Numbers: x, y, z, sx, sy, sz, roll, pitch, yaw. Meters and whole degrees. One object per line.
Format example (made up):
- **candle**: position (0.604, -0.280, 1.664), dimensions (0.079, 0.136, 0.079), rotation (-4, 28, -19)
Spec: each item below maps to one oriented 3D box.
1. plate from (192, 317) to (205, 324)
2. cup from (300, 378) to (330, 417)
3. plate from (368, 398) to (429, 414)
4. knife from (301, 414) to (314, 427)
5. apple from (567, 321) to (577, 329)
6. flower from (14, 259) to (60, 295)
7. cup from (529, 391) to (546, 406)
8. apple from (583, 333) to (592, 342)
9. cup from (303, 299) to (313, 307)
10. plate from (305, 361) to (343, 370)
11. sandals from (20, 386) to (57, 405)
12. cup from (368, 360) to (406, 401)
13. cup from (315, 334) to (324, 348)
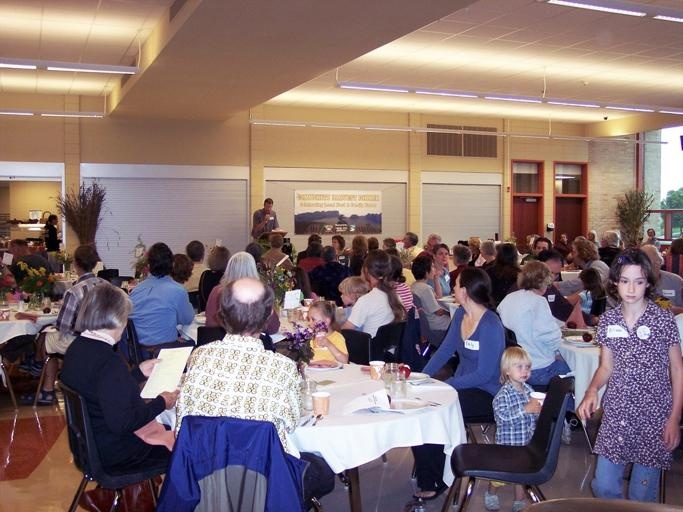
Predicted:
- **plate**: position (-1.414, 0.635, 5.267), dimensions (0.074, 0.078, 0.119), rotation (0, -13, 6)
- **cup**: position (-0.147, 0.741, 2.782), dimensions (0.117, 0.167, 0.178), rotation (0, -7, -3)
- **plate**: position (0.312, 0.792, 2.801), dimensions (0.345, 0.025, 0.165), rotation (-2, 4, -29)
- **knife**: position (-0.167, 0.809, 2.599), dimensions (0.071, 0.020, 0.100), rotation (0, 4, -3)
- **apple**: position (2.064, 0.612, 4.719), dimensions (0.060, 0.044, 0.064), rotation (1, -3, -15)
- **flower**: position (-3.314, 0.250, 5.766), dimensions (0.358, 0.293, 0.398), rotation (7, 6, 1)
- **cup**: position (1.167, 0.840, 3.130), dimensions (0.081, 0.063, 0.081), rotation (-1, 2, 0)
- **apple**: position (2.000, 0.651, 4.285), dimensions (0.068, 0.063, 0.067), rotation (4, 7, 39)
- **cup**: position (-0.359, 0.480, 5.555), dimensions (0.108, 0.077, 0.107), rotation (0, 1, 0)
- **plate**: position (-0.106, 0.731, 3.532), dimensions (0.233, 0.037, 0.118), rotation (-1, 4, -8)
- **sandals**: position (-3.122, 1.454, 5.517), dimensions (0.409, 0.170, 0.156), rotation (5, -6, 2)
- **cup**: position (0.270, 0.703, 3.047), dimensions (0.226, 0.217, 0.139), rotation (0, -1, 25)
- **cup**: position (-0.136, 0.540, 3.353), dimensions (0.056, 0.076, 0.074), rotation (-3, -3, 1)
